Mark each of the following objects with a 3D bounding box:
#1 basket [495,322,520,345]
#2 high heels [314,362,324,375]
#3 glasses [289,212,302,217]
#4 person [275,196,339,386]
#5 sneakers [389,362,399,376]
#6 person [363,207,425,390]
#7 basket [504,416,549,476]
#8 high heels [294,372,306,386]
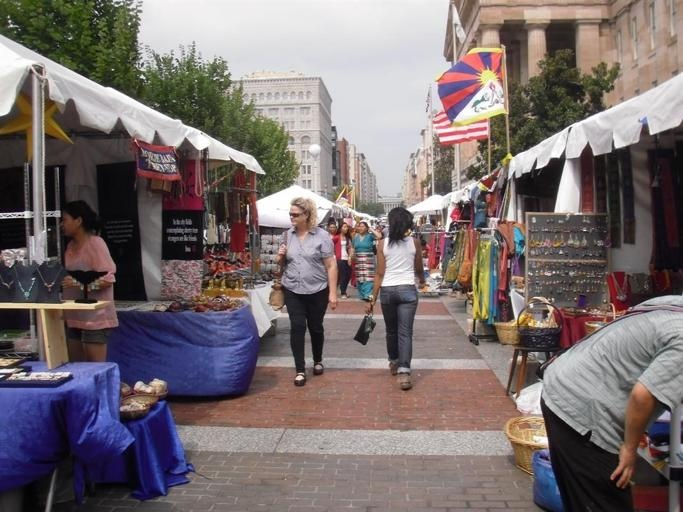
[{"bbox_3d":[1.942,0.900,7.098,0.234,0.205,0.248,1,-2,-42],"label":"basket"},{"bbox_3d":[-0.305,1.487,7.965,0.136,0.136,0.362,-1,-1,0],"label":"high heels"},{"bbox_3d":[-0.567,-0.474,7.285,0.159,0.065,0.079,2,5,34],"label":"glasses"},{"bbox_3d":[-0.398,0.431,7.524,0.755,2.297,0.690,0,4,9],"label":"person"},{"bbox_3d":[0.686,1.493,7.986,0.086,0.157,0.153,1,-9,-2],"label":"sneakers"},{"bbox_3d":[0.701,0.499,7.553,0.698,2.190,0.817,-1,4,-7],"label":"person"},{"bbox_3d":[1.575,1.557,5.171,0.438,0.265,0.504,-1,7,4],"label":"basket"},{"bbox_3d":[-0.506,1.521,7.476,0.117,0.142,0.379,0,-4,0],"label":"high heels"}]
